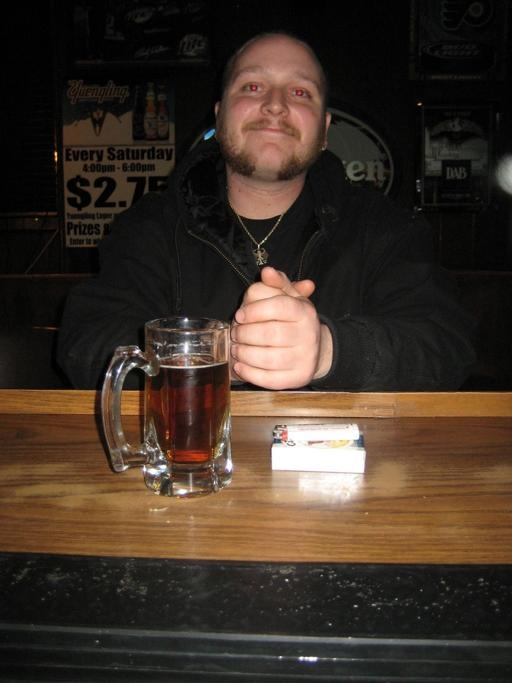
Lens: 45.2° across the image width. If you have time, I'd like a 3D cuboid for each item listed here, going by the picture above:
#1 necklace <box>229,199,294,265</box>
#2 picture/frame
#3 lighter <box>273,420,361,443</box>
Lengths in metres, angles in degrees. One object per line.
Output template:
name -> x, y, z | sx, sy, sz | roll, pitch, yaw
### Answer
necklace -> 0.022, -0.326, 1.856 | 0.262, 0.036, 0.308 | 1, 57, -2
picture/frame -> 0.712, -1.283, 4.184 | 1.674, 0.913, 0.400 | 1, 13, 2
lighter -> 0.075, 0.115, 0.785 | 0.107, 0.013, 0.069 | -4, 8, 1
